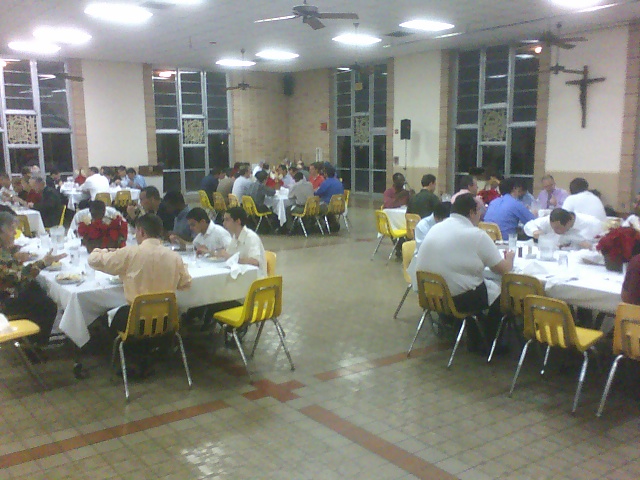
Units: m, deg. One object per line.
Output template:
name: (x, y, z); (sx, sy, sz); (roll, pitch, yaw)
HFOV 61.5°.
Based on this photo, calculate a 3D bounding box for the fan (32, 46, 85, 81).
fan: (-6.758, -4.596, 13.886); (1.309, 0.368, 1.427); (-3, 0, -29)

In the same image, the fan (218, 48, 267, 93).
fan: (-2.348, -4.806, 15.710); (1.478, 1.405, 1.461); (-1, -1, 0)

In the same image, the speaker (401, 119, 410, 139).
speaker: (2.366, -3.060, 14.873); (0.291, 0.554, 0.393); (2, 14, 8)
